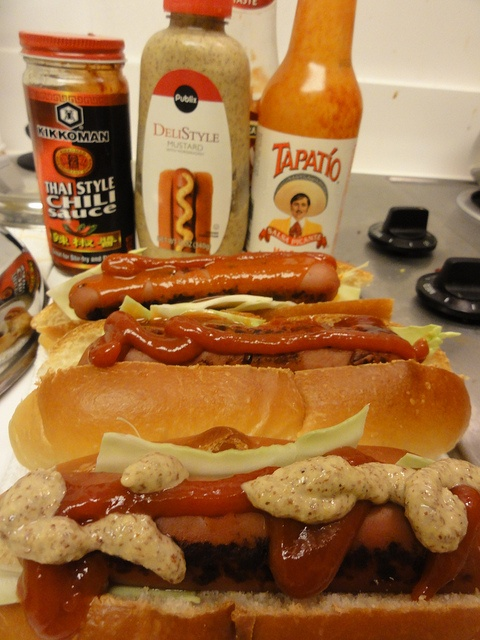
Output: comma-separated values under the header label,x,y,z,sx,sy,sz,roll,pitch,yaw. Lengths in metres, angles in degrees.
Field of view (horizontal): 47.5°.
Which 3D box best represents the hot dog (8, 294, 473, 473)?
label,x,y,z,sx,sy,sz,roll,pitch,yaw
hot dog,0.013,0.124,1.460,1.006,0.285,0.449,2,13,-3
